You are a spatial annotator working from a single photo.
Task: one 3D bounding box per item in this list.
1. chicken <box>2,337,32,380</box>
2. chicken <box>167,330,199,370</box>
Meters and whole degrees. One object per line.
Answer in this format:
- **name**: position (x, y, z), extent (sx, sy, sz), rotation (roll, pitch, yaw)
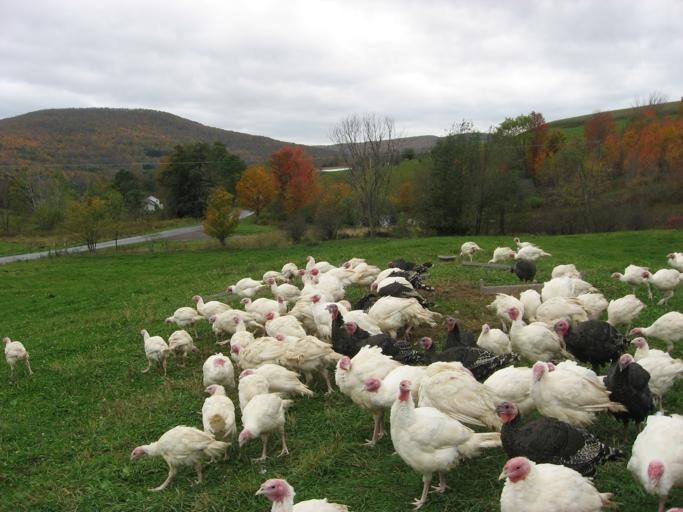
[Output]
- **chicken**: position (-10.673, 3.299, 18.391), extent (0.675, 0.951, 1.624), rotation (-9, 12, -32)
- **chicken**: position (-5.173, 2.875, 17.946), extent (0.758, 1.042, 1.554), rotation (-8, -7, 15)
